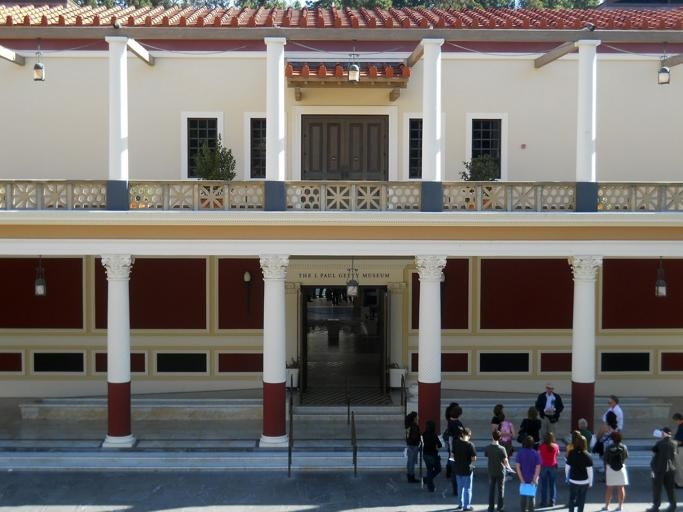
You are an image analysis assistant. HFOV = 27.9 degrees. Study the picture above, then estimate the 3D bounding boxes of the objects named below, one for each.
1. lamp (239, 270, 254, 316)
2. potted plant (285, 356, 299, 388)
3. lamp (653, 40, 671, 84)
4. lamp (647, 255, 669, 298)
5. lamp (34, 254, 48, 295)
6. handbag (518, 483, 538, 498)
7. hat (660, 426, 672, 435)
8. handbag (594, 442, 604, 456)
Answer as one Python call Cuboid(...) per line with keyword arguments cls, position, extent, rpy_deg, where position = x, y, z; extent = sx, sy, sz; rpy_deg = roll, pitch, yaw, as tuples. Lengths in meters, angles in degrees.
Cuboid(cls="lamp", position=(-2.954, 1.230, 42.784), extent=(0.290, 1.352, 0.204), rpy_deg=(-1, 1, -7))
Cuboid(cls="potted plant", position=(-1.521, 3.648, 42.561), extent=(0.744, 0.903, 0.932), rpy_deg=(0, 4, -1))
Cuboid(cls="lamp", position=(9.493, -5.672, 40.502), extent=(0.358, 1.418, 2.837), rpy_deg=(0, 2, 13))
Cuboid(cls="lamp", position=(9.757, 0.737, 41.926), extent=(0.409, 1.261, 2.566), rpy_deg=(0, 2, 13))
Cuboid(cls="lamp", position=(-9.160, 0.684, 41.663), extent=(0.387, 1.241, 2.046), rpy_deg=(-1, 2, -12))
Cuboid(cls="handbag", position=(4.852, 6.086, 35.778), extent=(0.406, 0.403, 0.302), rpy_deg=(0, 2, 10))
Cuboid(cls="hat", position=(8.540, 4.626, 36.157), extent=(0.272, 0.202, 0.360), rpy_deg=(1, 12, -1))
Cuboid(cls="handbag", position=(7.058, 5.292, 37.723), extent=(0.276, 0.389, 0.341), rpy_deg=(0, 2, 7))
